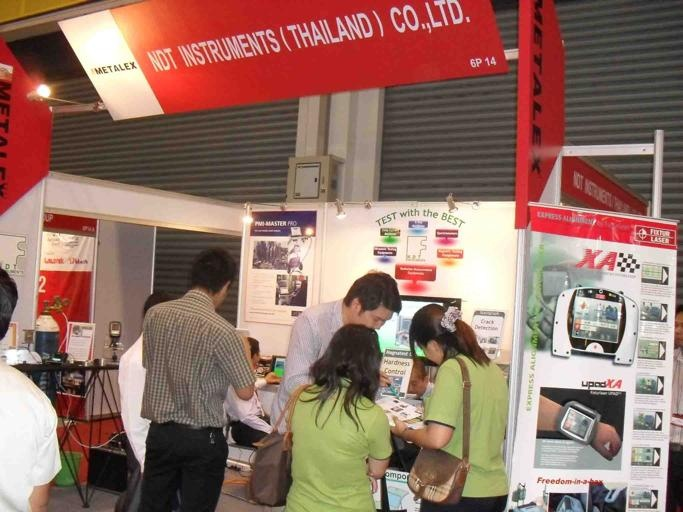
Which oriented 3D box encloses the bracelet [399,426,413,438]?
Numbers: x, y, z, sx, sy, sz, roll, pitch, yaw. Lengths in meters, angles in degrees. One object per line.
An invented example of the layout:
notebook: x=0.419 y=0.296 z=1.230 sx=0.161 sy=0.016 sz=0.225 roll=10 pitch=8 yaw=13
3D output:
bracelet: x=0.324 y=0.874 z=2.650 sx=0.047 sy=0.038 sz=0.047 roll=12 pitch=-16 yaw=-39

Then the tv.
tv: x=0.414 y=0.454 z=3.115 sx=0.481 sy=0.383 sz=0.035 roll=0 pitch=-11 yaw=11
